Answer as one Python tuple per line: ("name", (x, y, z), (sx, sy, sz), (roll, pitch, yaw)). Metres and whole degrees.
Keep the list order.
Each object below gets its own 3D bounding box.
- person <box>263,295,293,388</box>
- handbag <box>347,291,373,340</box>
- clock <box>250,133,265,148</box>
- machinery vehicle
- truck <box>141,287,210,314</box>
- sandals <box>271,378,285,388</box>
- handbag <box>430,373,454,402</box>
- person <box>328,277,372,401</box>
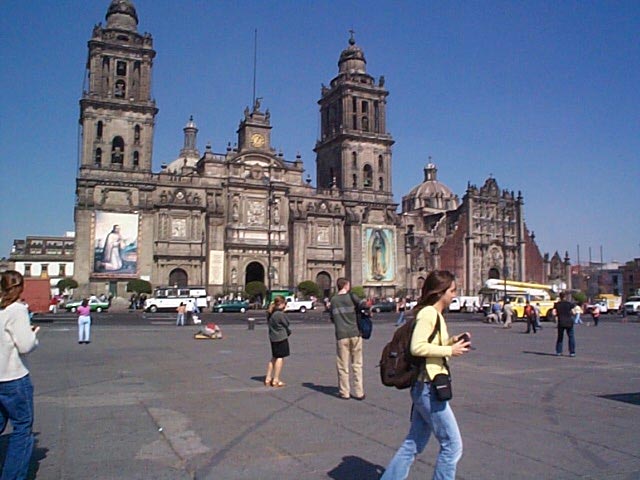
("person", (-0.998, 2.210, 13.163), (0.780, 1.717, 0.890), (-1, 1, -21))
("handbag", (0.857, 1.500, 12.011), (0.325, 0.878, 0.497), (3, -6, -29))
("clock", (-6.696, -10.637, 64.466), (1.630, 1.626, 0.240), (2, -7, -29))
("machinery vehicle", (17.863, 5.116, 53.763), (5.839, 2.728, 3.371), (4, 11, -16))
("truck", (-11.689, 5.096, 48.962), (5.937, 1.951, 3.562), (-1, 0, -34))
("sandals", (-0.888, 3.036, 12.855), (0.282, 0.145, 0.399), (1, -5, -5))
("handbag", (1.432, 1.725, 7.045), (0.246, 0.330, 0.198), (1, -5, -8))
("person", (0.598, 1.979, 12.300), (0.776, 2.388, 0.727), (-3, -11, 10))
